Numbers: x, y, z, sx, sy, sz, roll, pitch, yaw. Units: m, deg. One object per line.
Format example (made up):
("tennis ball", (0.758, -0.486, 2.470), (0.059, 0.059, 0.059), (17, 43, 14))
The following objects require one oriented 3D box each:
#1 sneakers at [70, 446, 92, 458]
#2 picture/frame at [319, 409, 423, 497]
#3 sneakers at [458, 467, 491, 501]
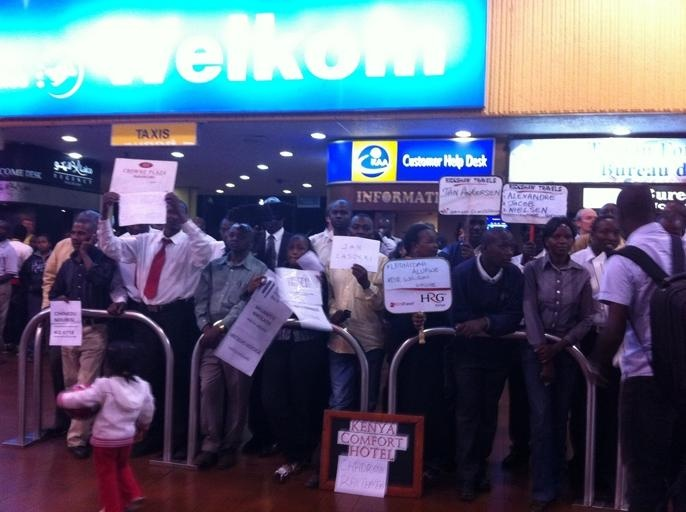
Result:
("sneakers", (-2.228, 1.679, 5.207), (0.209, 0.084, 0.075), (-8, -8, 25))
("picture/frame", (0.229, 1.504, 4.669), (0.793, 0.575, 0.090), (-1, -16, 17))
("sneakers", (1.077, 1.773, 4.681), (0.125, 0.234, 0.343), (-6, -15, 35))
